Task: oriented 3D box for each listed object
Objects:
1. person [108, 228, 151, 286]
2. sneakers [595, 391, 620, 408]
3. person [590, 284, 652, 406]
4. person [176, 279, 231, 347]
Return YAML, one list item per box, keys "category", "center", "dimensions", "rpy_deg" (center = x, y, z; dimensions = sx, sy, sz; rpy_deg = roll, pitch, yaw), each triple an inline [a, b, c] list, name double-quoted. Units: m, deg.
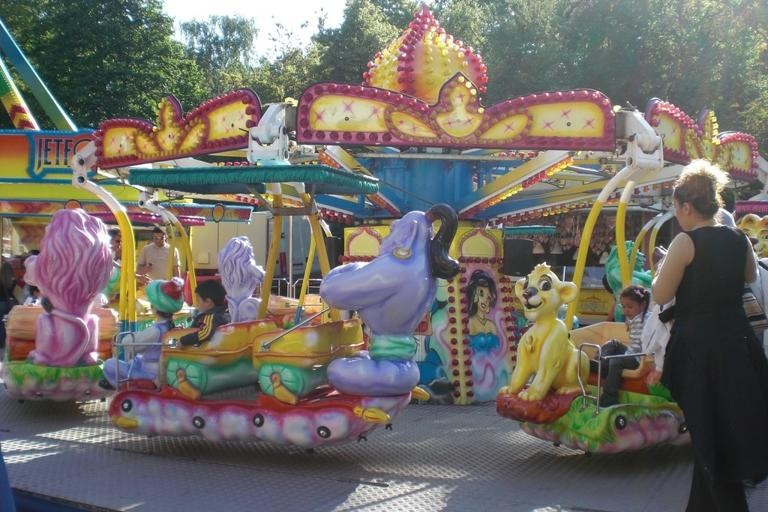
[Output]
- category: "person"
  center: [-4.053, 0.021, 12.284]
  dimensions: [0.254, 0.226, 1.196]
  rpy_deg: [0, 51, -25]
- category: "sneakers"
  center: [2.081, 1.345, 7.181]
  dimensions: [0.155, 0.152, 0.121]
  rpy_deg: [-3, -8, 12]
- category: "person"
  center: [2.290, 0.849, 7.406]
  dimensions: [0.390, 0.987, 0.984]
  rpy_deg: [4, 11, 20]
- category: "person"
  center: [-1.783, 0.596, 7.900]
  dimensions: [0.515, 0.777, 0.895]
  rpy_deg: [0, -14, 5]
